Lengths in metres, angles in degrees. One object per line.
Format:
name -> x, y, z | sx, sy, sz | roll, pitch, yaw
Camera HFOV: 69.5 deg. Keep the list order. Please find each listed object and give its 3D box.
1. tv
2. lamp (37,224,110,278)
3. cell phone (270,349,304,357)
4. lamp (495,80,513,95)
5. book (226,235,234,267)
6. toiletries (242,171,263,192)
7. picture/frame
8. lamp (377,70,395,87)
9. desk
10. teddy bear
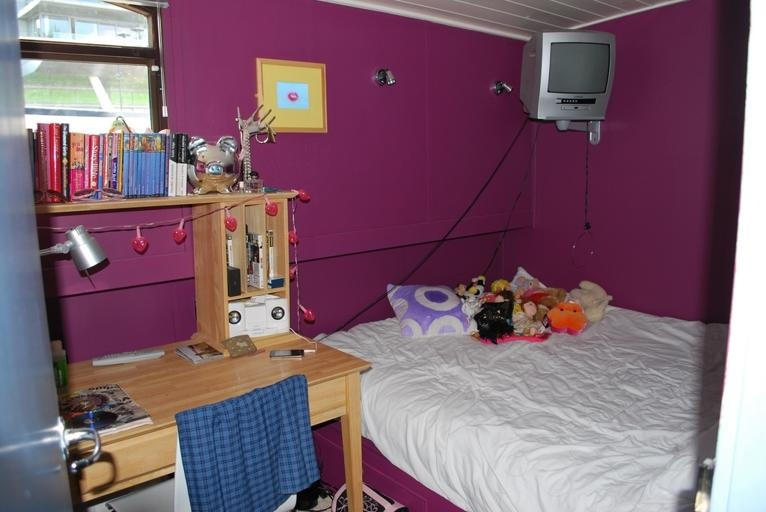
tv -> 1.215, -1.165, 3.854 | 0.562, 0.611, 0.600 | -3, 7, -23
lamp -> -1.356, -0.020, 2.388 | 0.336, 0.188, 0.113 | -18, 16, -2
cell phone -> -0.471, 0.477, 2.712 | 0.106, 0.011, 0.063 | -1, 7, -5
lamp -> 0.877, -1.243, 4.114 | 0.122, 0.115, 0.124 | -6, 22, -31
book -> -0.782, -0.030, 2.832 | 0.041, 0.155, 0.052 | -4, 12, -9
toiletries -> -0.701, -0.394, 2.910 | 0.110, 0.092, 0.243 | -5, 13, -14
picture/frame -> -0.535, -0.912, 3.122 | 0.458, 0.394, 0.066 | -9, 13, -40
lamp -> 0.036, -1.119, 3.474 | 0.074, 0.102, 0.163 | 10, 18, 43
desk -> -0.729, 0.896, 2.640 | 1.259, 0.797, 0.679 | -9, 15, -30
teddy bear -> 0.945, 0.341, 3.502 | 0.598, 0.158, 0.538 | -8, 18, -12
